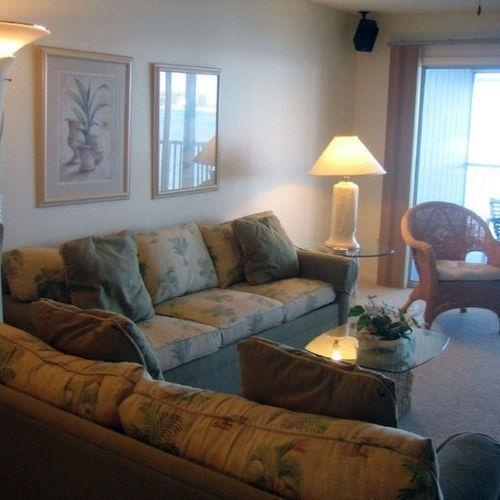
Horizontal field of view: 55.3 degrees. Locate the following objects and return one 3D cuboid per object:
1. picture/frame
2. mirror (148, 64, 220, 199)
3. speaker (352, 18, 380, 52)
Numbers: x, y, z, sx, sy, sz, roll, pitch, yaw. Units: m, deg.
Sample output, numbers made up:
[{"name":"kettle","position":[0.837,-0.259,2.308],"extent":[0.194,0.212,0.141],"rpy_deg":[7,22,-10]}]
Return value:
[{"name":"picture/frame","position":[-0.989,-0.738,2.873],"extent":[0.087,0.882,0.714],"rpy_deg":[7,15,33]},{"name":"mirror","position":[-0.475,-0.876,3.498],"extent":[0.069,0.916,0.672],"rpy_deg":[8,16,37]},{"name":"speaker","position":[1.159,-2.181,4.798],"extent":[0.210,0.293,0.212],"rpy_deg":[-4,13,-12]}]
